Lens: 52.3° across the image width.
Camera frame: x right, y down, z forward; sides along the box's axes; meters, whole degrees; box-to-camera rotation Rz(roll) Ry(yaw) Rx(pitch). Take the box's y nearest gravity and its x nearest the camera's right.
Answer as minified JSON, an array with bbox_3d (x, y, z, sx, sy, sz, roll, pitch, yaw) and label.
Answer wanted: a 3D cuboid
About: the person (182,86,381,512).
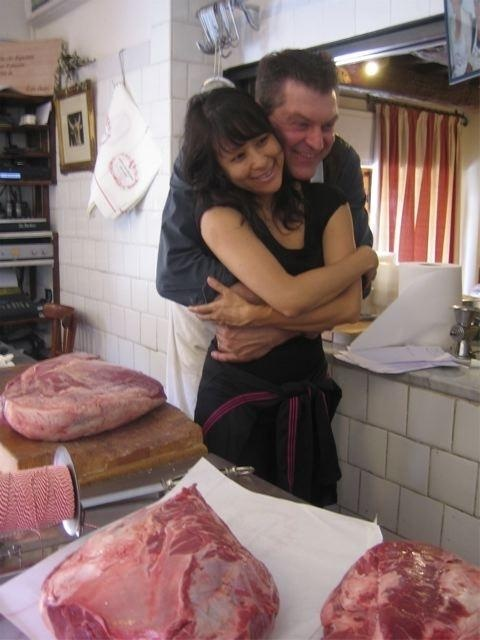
[{"bbox_3d":[0.069,0.019,1.111,0.452,0.940,0.306,-4,7,-36],"label":"person"}]

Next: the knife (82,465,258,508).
[{"bbox_3d":[-0.081,0.187,0.546,0.142,0.023,0.015,-11,-19,-23],"label":"knife"}]

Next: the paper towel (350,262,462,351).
[{"bbox_3d":[0.499,-0.057,1.537,0.285,0.315,0.224,-18,25,-32],"label":"paper towel"}]
